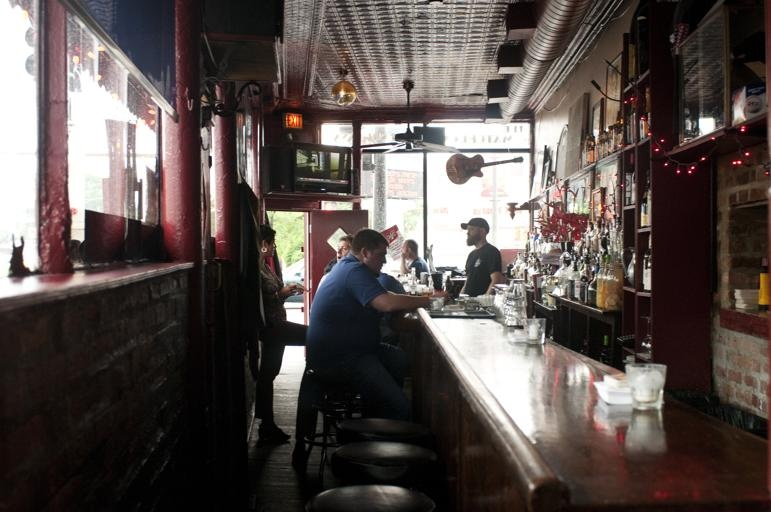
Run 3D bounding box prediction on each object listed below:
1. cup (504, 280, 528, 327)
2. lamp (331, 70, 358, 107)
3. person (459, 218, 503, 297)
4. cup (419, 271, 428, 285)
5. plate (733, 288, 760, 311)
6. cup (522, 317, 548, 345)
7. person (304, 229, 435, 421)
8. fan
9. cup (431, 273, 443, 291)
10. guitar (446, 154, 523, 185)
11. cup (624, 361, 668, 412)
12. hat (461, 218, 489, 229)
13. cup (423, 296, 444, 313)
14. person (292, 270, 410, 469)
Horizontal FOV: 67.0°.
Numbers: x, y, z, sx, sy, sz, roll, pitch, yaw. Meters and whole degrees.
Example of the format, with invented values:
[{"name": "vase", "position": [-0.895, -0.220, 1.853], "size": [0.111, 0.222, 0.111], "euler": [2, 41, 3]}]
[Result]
[{"name": "cup", "position": [0.821, 0.302, 3.715], "size": [0.120, 0.279, 0.298], "euler": [1, 3, 8]}, {"name": "lamp", "position": [-0.530, -2.122, 7.387], "size": [0.307, 0.418, 0.311], "euler": [-8, 19, -21]}, {"name": "person", "position": [1.214, 0.010, 7.307], "size": [0.249, 0.966, 0.555], "euler": [-2, 4, -36]}, {"name": "cup", "position": [0.474, 0.280, 7.186], "size": [0.092, 0.162, 0.159], "euler": [-1, 2, 1]}, {"name": "plate", "position": [2.254, 0.272, 3.635], "size": [0.112, 0.135, 0.196], "euler": [2, -4, -9]}, {"name": "cup", "position": [0.816, 0.401, 3.185], "size": [0.103, 0.134, 0.191], "euler": [1, 3, 13]}, {"name": "person", "position": [-0.149, 0.764, 4.512], "size": [0.946, 1.778, 0.826], "euler": [-2, -3, 11]}, {"name": "fan", "position": [0.371, -2.047, 8.555], "size": [1.450, 0.936, 1.363], "euler": [0, 8, 8]}, {"name": "cup", "position": [0.644, 0.312, 7.198], "size": [0.171, 0.220, 0.183], "euler": [-1, -1, 0]}, {"name": "guitar", "position": [1.339, -1.359, 9.034], "size": [0.742, 0.471, 0.460], "euler": [2, 3, 24]}, {"name": "cup", "position": [0.976, 0.478, 2.169], "size": [0.177, 0.161, 0.136], "euler": [1, 3, 2]}, {"name": "hat", "position": [1.128, -0.421, 7.353], "size": [0.238, 0.127, 0.166], "euler": [2, -6, 1]}, {"name": "cup", "position": [0.393, 0.380, 4.564], "size": [0.128, 0.098, 0.129], "euler": [1, -6, 0]}, {"name": "person", "position": [-0.099, 0.720, 4.511], "size": [0.876, 1.780, 0.830], "euler": [0, -1, 12]}]
